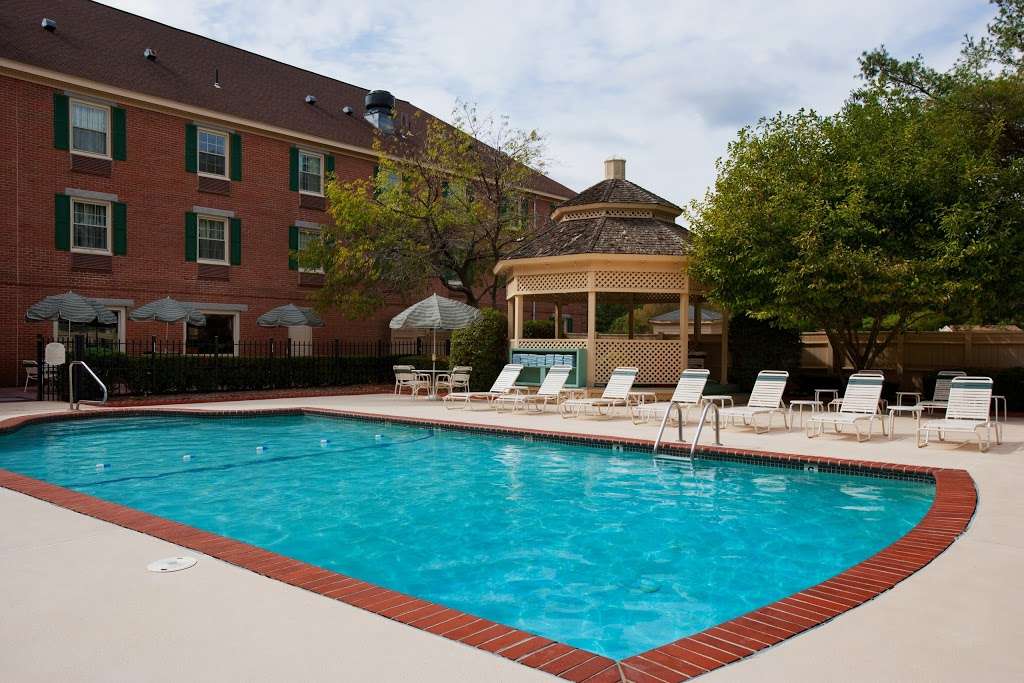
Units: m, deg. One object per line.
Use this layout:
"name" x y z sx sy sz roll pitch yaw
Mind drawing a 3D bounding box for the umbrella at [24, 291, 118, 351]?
"umbrella" -12.646 -0.906 23.119 1.770 0.859 1.755 2 -4 1

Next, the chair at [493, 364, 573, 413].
"chair" 0.953 1.251 22.017 1.147 1.051 1.935 -2 -4 43

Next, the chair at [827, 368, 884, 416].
"chair" 7.411 1.110 17.051 0.933 0.876 1.734 0 3 41

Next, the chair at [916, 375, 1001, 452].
"chair" 9.086 1.401 15.890 1.964 1.253 1.098 -11 8 -44

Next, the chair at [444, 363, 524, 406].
"chair" -0.490 1.228 22.711 2.232 1.052 1.130 3 -4 -45

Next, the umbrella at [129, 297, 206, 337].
"umbrella" -10.466 -0.918 24.219 1.400 0.595 1.429 -2 -5 34

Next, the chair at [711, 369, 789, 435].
"chair" 5.570 1.335 18.018 1.800 1.165 1.058 -6 7 -43

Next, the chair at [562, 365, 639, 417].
"chair" 2.307 1.237 19.693 0.928 1.129 1.999 3 3 43

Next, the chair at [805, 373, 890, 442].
"chair" 7.282 1.408 16.993 1.851 1.153 1.012 -13 11 -43

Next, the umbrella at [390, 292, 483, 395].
"umbrella" -2.713 0.057 26.560 3.407 3.560 3.171 -1 2 -31

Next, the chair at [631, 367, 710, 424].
"chair" 3.856 1.230 18.139 0.850 0.978 1.543 4 9 44
